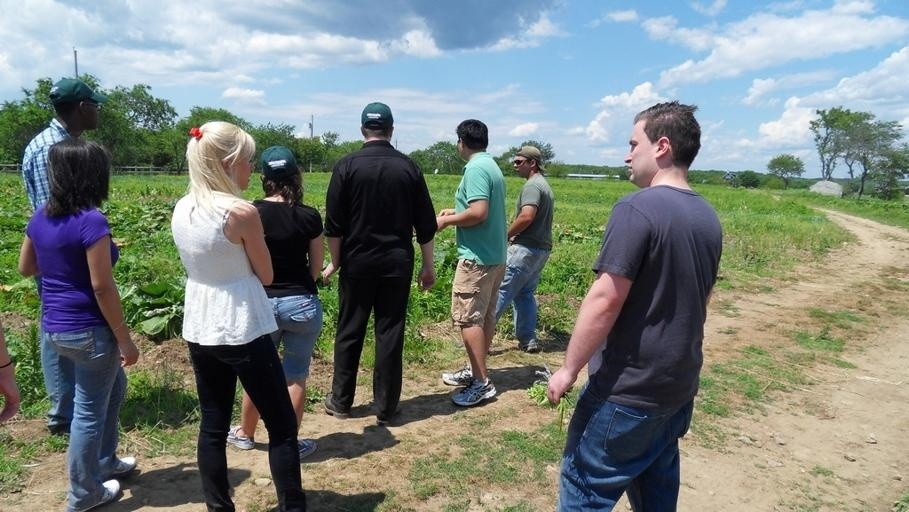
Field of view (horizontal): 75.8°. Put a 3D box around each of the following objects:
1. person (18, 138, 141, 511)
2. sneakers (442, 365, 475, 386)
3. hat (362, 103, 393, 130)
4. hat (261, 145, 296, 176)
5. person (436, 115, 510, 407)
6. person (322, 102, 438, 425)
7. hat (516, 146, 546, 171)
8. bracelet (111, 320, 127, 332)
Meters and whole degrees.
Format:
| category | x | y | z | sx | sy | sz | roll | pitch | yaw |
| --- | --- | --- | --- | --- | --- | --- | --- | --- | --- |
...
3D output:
| category | x | y | z | sx | sy | sz | roll | pitch | yaw |
| --- | --- | --- | --- | --- | --- | --- | --- | --- | --- |
| person | -3.822 | 0.726 | 6.046 | 0.804 | 3.777 | 0.919 | -9 | 18 | -33 |
| sneakers | 0.065 | 1.711 | 8.287 | 0.534 | 0.212 | 0.189 | 3 | 6 | 3 |
| hat | -0.881 | -1.653 | 6.942 | 0.337 | 0.308 | 0.554 | -3 | 14 | -19 |
| hat | -1.929 | -1.025 | 6.393 | 0.307 | 0.221 | 0.389 | -13 | 37 | -13 |
| person | 0.288 | 0.102 | 7.768 | 0.779 | 3.701 | 1.043 | 3 | 15 | 3 |
| person | -0.948 | 0.124 | 7.216 | 1.339 | 3.895 | 0.903 | -1 | 15 | -9 |
| hat | 1.175 | -1.480 | 8.718 | 0.459 | 0.292 | 0.306 | 17 | 10 | -11 |
| bracelet | -3.423 | 0.722 | 5.997 | 0.129 | 0.106 | 0.118 | 1 | -2 | -3 |
